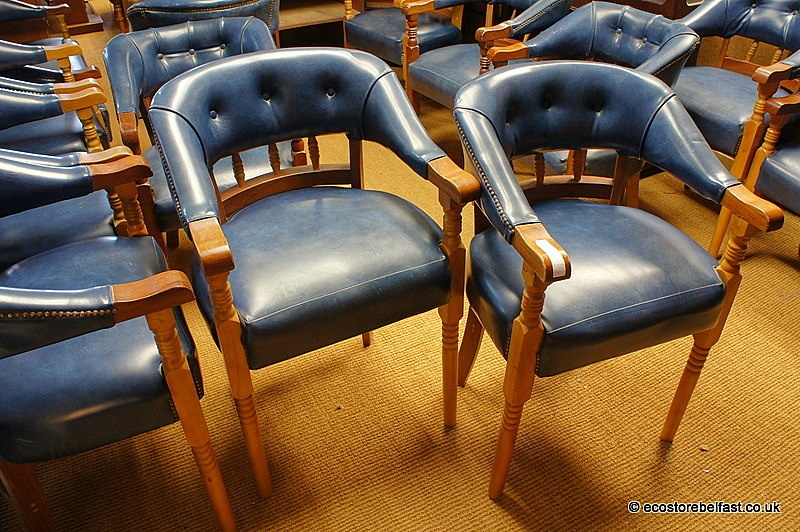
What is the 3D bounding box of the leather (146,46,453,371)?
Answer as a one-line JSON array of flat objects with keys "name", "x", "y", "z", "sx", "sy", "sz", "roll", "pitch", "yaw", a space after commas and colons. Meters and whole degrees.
[{"name": "leather", "x": -0.252, "y": -0.110, "z": 2.054, "sx": 0.951, "sy": 0.872, "sz": 0.895, "roll": -19, "pitch": 56, "yaw": -16}]
